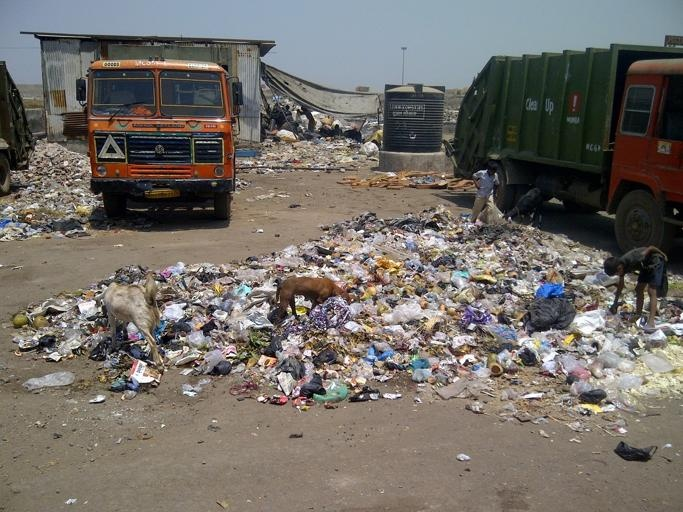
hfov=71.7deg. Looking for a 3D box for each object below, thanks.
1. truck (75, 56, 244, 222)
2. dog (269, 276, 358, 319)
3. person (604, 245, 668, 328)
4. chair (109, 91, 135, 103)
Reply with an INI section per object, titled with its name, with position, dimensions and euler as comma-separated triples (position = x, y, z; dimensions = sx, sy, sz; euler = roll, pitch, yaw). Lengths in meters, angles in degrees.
[truck]
position = -4.046, -2.869, 11.855
dimensions = 2.571, 2.213, 3.997
euler = 0, 9, -7
[dog]
position = -0.376, 0.558, 6.225
dimensions = 1.024, 0.527, 0.343
euler = 2, 8, -13
[person]
position = 4.101, 0.369, 6.599
dimensions = 0.698, 1.020, 0.659
euler = 14, 22, 39
[chair]
position = -4.622, -3.299, 9.979
dimensions = 0.470, 0.257, 0.161
euler = -4, 18, -13
